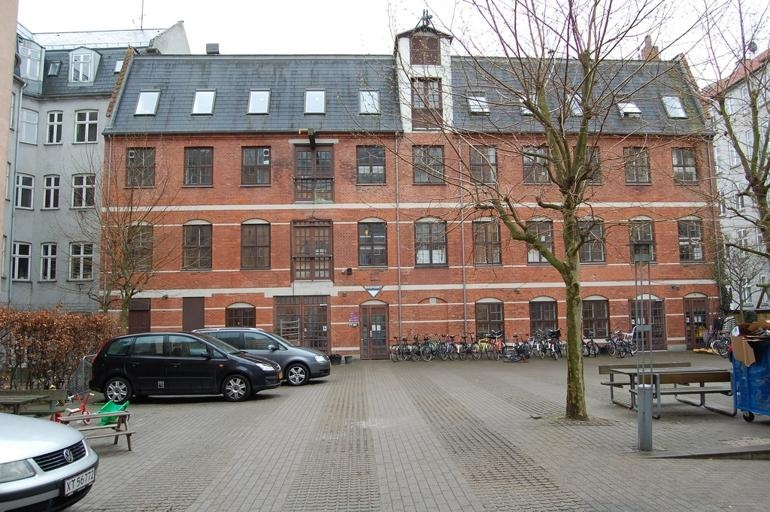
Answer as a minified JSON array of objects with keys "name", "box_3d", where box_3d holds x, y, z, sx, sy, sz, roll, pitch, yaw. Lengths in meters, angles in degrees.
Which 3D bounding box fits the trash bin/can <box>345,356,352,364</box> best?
[{"name":"trash bin/can","box_3d":[-1.664,4.767,32.324,0.371,0.239,0.295,0,-12,-5]}]

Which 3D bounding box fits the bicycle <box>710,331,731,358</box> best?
[{"name":"bicycle","box_3d":[15.172,3.871,31.972,0.644,1.349,2.304,4,10,21]}]

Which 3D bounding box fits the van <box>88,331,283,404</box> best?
[{"name":"van","box_3d":[-6.131,3.508,22.215,5.239,1.690,2.315,0,-7,-5]}]

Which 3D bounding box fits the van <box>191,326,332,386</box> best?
[{"name":"van","box_3d":[-4.346,3.581,25.349,4.555,1.572,2.049,0,-6,-3]}]
